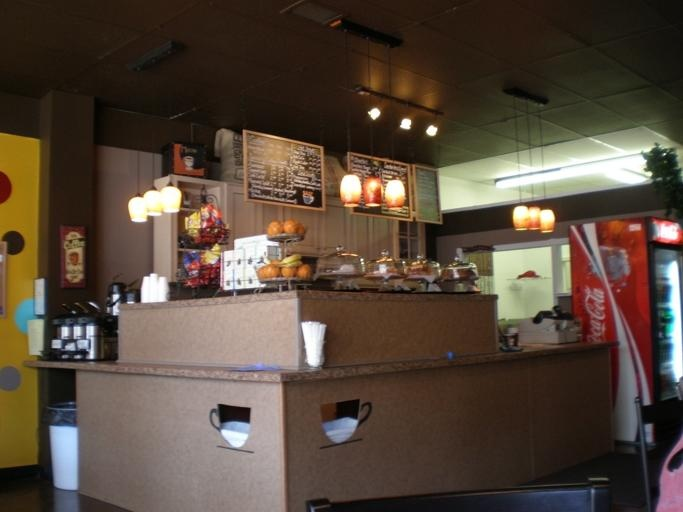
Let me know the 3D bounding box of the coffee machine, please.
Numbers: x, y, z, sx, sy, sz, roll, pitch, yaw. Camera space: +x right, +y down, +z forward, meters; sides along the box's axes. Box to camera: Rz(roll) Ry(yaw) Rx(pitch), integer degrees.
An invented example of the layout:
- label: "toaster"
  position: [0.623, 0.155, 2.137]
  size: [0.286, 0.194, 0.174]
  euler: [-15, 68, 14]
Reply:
- label: "coffee machine"
  position: [-2.358, 0.687, 5.675]
  size: [0.592, 0.506, 0.325]
  euler: [-5, -5, 25]

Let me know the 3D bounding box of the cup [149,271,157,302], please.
- label: "cup"
  position: [-1.505, 0.258, 5.039]
  size: [0.065, 0.211, 0.126]
  euler: [0, -3, -26]

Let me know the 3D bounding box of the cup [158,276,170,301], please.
- label: "cup"
  position: [-1.427, 0.266, 5.018]
  size: [0.077, 0.182, 0.146]
  euler: [0, -3, -22]

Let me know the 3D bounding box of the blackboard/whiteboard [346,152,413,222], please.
- label: "blackboard/whiteboard"
  position: [0.459, -0.790, 7.254]
  size: [0.980, 0.747, 0.035]
  euler: [4, -10, -38]

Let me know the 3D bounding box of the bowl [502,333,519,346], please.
- label: "bowl"
  position: [1.391, 0.687, 5.126]
  size: [0.107, 0.116, 0.123]
  euler: [1, 0, 32]

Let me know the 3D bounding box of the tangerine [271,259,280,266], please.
- label: "tangerine"
  position: [-0.486, 0.049, 4.677]
  size: [0.052, 0.051, 0.051]
  euler: [0, -8, -34]

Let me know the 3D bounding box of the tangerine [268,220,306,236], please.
- label: "tangerine"
  position: [-0.390, -0.195, 4.514]
  size: [0.167, 0.067, 0.153]
  euler: [-2, -3, -17]

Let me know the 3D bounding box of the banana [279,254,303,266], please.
- label: "banana"
  position: [-0.357, 0.031, 4.431]
  size: [0.146, 0.079, 0.147]
  euler: [-2, -3, 4]

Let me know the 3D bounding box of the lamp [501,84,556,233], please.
- label: "lamp"
  position: [2.230, -1.127, 7.363]
  size: [0.733, 1.668, 0.338]
  euler: [4, -9, -36]

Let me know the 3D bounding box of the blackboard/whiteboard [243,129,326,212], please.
- label: "blackboard/whiteboard"
  position: [-0.624, -0.895, 6.659]
  size: [0.957, 0.702, 0.037]
  euler: [4, -11, -36]

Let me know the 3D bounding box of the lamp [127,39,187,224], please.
- label: "lamp"
  position: [-1.744, -1.058, 5.834]
  size: [0.438, 1.452, 1.398]
  euler: [-1, -3, -19]

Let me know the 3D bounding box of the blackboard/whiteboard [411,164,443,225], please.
- label: "blackboard/whiteboard"
  position: [1.103, -0.792, 8.054]
  size: [0.070, 0.888, 0.760]
  euler: [-15, -21, 40]
